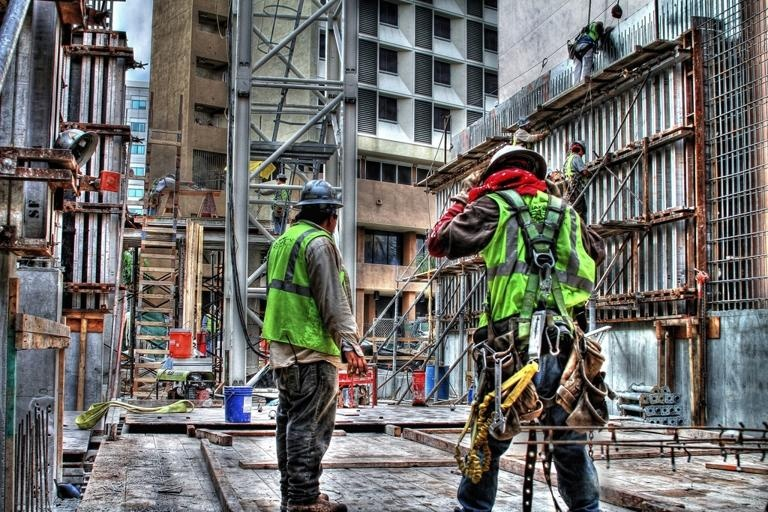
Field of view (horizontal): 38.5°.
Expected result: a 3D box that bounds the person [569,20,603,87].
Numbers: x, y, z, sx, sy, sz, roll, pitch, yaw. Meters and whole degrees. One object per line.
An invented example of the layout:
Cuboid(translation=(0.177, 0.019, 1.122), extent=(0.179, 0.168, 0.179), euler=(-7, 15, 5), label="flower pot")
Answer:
Cuboid(translation=(4.582, -4.647, 24.827), extent=(0.607, 1.332, 0.879), euler=(5, -8, -4), label="person")

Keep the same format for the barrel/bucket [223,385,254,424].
Cuboid(translation=(-2.360, 2.407, 18.029), extent=(0.512, 0.531, 0.566), euler=(-7, -13, 24), label="barrel/bucket")

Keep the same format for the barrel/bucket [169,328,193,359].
Cuboid(translation=(-4.470, 1.892, 24.285), extent=(0.586, 0.574, 0.569), euler=(7, -5, 1), label="barrel/bucket")

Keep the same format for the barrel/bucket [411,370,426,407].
Cuboid(translation=(0.756, 2.784, 23.510), extent=(0.287, 0.741, 0.550), euler=(4, -8, 3), label="barrel/bucket")
